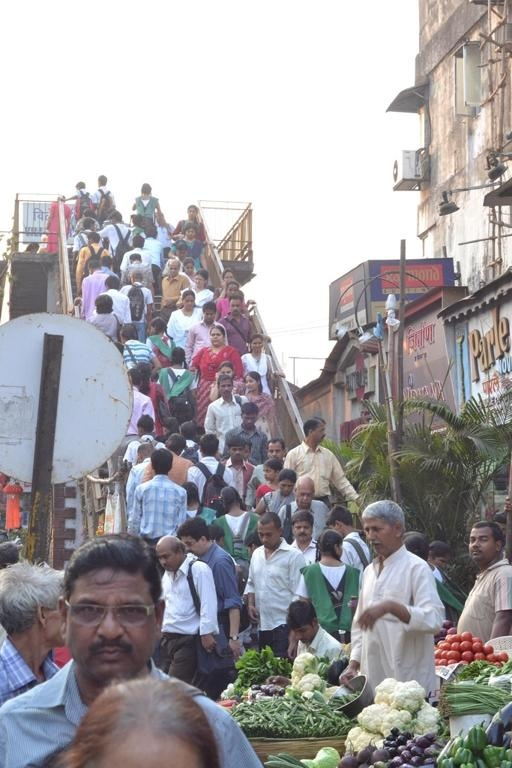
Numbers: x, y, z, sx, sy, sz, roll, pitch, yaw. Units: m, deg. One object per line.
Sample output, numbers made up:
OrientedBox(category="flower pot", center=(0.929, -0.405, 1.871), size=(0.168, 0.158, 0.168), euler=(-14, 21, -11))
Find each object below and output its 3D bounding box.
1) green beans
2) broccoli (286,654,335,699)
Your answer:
OrientedBox(category="green beans", center=(0.143, 1.254, 5.024), size=(0.472, 0.205, 0.552), euler=(-1, -5, 8))
OrientedBox(category="broccoli", center=(0.251, 1.267, 5.822), size=(0.251, 0.152, 0.162), euler=(0, -4, -23))
